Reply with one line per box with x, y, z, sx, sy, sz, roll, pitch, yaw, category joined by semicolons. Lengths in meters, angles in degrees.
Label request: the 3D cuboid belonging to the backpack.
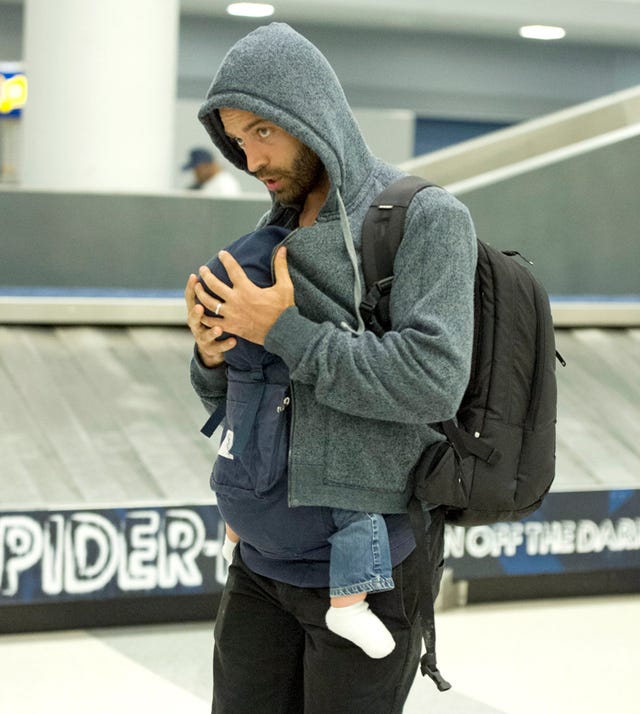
0.273;0.000;1.696;0.403;0.631;0.294;1;16;0;backpack

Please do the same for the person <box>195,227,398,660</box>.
0.113;0.133;1.807;0.602;0.630;0.266;6;14;37;person

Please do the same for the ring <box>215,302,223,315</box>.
-0.176;-0.086;1.636;0.006;0.017;0.019;21;-31;-19;ring
